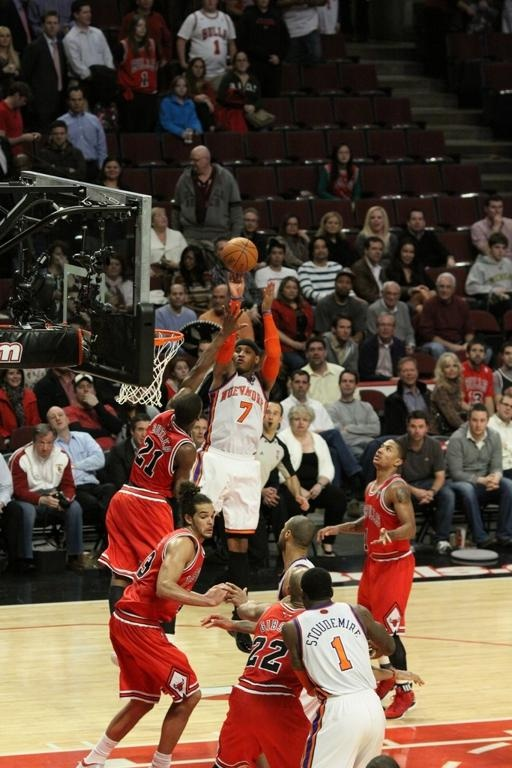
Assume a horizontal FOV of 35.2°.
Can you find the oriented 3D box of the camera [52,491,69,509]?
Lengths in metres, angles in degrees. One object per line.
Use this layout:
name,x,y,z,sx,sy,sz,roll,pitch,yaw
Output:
camera,-1.747,1.047,7.236,0.107,0.167,0.079,-32,1,-26
